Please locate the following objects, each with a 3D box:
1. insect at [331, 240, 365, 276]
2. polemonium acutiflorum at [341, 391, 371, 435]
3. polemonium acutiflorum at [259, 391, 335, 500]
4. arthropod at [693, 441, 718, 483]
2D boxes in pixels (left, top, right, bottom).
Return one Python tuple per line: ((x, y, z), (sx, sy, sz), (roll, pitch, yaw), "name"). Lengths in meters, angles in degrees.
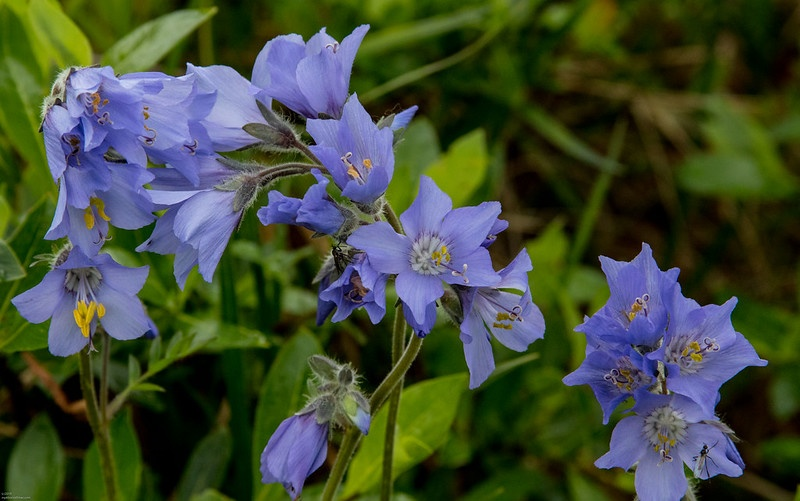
((-0.131, 0.016, 2.053), (0.105, 0.063, 0.054), (2, 51, 24), "insect")
((-0.113, 0.398, 2.086), (0.061, 0.030, 0.109), (-15, 83, -36), "polemonium acutiflorum")
((-0.271, 0.477, 2.143), (0.153, 0.120, 0.258), (24, 78, -12), "polemonium acutiflorum")
((0.746, 0.514, 2.038), (0.052, 0.080, 0.022), (10, 9, -4), "arthropod")
